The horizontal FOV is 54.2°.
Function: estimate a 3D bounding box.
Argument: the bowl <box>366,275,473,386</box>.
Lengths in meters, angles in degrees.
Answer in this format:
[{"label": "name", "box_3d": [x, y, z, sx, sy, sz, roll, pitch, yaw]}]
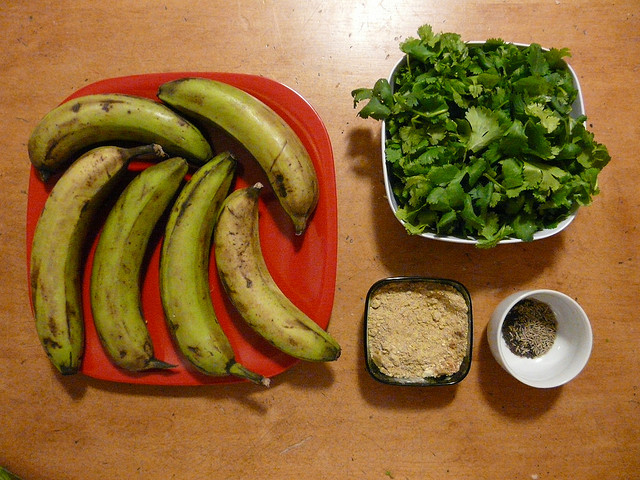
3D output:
[{"label": "bowl", "box_3d": [0.267, 0.249, 1.688, 0.277, 0.095, 0.276, 0, 75, -1]}]

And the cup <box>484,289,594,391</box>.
[{"label": "cup", "box_3d": [0.597, 0.272, 1.699, 0.260, 0.135, 0.248, 0, 74, -1]}]

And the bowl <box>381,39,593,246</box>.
[{"label": "bowl", "box_3d": [0.434, -0.249, 1.640, 0.539, 0.206, 0.519, 0, 74, -1]}]
